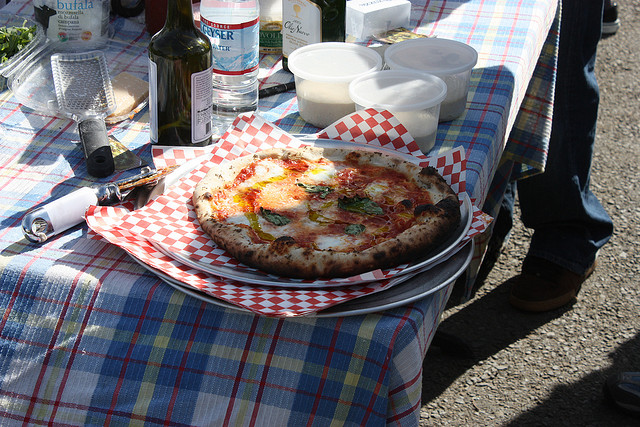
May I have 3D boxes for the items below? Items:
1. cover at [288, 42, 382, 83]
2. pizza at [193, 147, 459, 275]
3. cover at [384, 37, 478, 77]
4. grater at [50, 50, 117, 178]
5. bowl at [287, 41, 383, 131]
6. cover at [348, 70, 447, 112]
[{"bbox_3d":[0.041,-0.432,1.593,0.190,0.048,0.184,1,33,3],"label":"cover"},{"bbox_3d":[0.012,-0.029,1.262,0.574,0.060,0.406,-3,47,-1],"label":"pizza"},{"bbox_3d":[0.332,-0.462,1.639,0.200,0.063,0.191,1,34,3],"label":"cover"},{"bbox_3d":[-0.680,-0.320,1.644,0.151,0.473,0.038,-9,64,-20],"label":"grater"},{"bbox_3d":[0.065,-0.341,1.622,0.357,0.177,0.348,2,15,0],"label":"bowl"},{"bbox_3d":[0.210,-0.326,1.478,0.174,0.052,0.174,17,36,25],"label":"cover"}]
